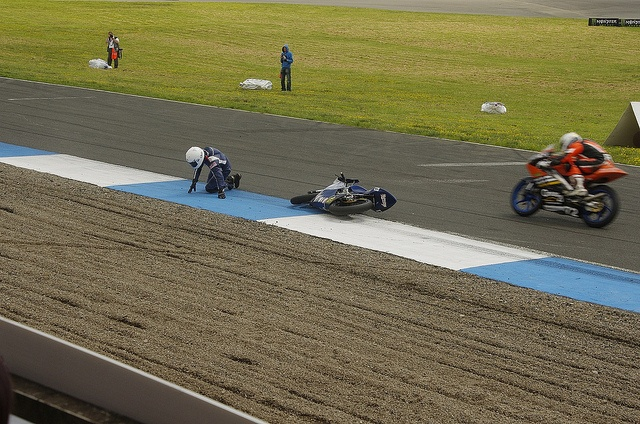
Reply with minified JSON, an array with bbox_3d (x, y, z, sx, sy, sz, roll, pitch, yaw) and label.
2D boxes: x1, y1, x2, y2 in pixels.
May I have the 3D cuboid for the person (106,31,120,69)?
[{"bbox_3d":[-9.022,-7.023,41.723,0.448,1.579,1.289,0,23,-12],"label":"person"}]

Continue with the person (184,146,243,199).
[{"bbox_3d":[-2.442,-0.965,22.638,1.399,1.183,1.083,-12,30,-23],"label":"person"}]

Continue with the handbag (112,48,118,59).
[{"bbox_3d":[-8.889,-6.826,41.360,0.241,0.526,0.426,0,23,-13],"label":"handbag"}]

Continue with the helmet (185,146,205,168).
[{"bbox_3d":[-2.840,-1.253,22.348,0.474,0.425,0.497,-5,-4,23],"label":"helmet"}]

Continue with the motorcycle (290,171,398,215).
[{"bbox_3d":[0.678,-0.436,22.089,2.668,0.703,1.167,0,13,26],"label":"motorcycle"}]
